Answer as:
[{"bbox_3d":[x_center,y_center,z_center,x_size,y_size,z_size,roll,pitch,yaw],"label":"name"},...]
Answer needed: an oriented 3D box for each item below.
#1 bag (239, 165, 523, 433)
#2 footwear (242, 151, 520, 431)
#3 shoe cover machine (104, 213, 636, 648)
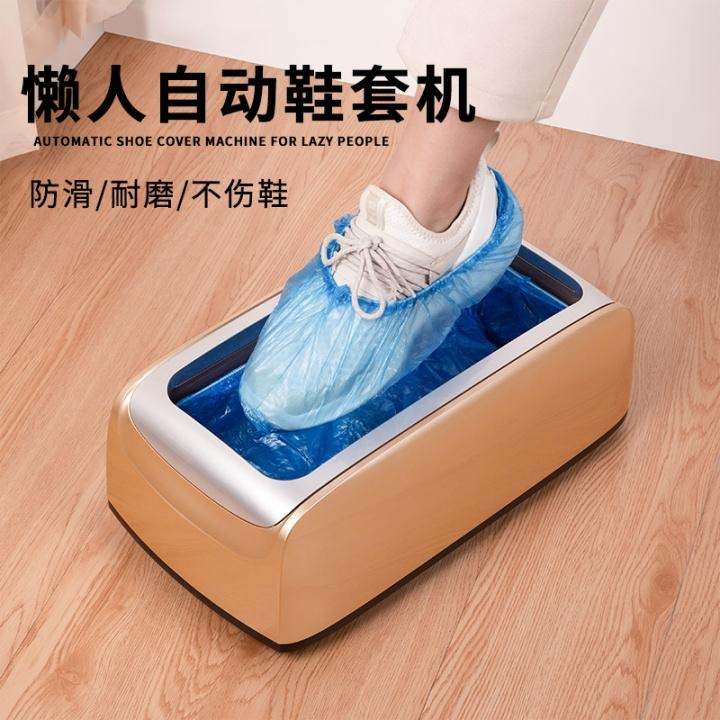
[{"bbox_3d":[0.002,-0.064,0.776,0.350,0.147,0.171,-43,64,-6],"label":"bag"},{"bbox_3d":[0.032,-0.090,0.783,0.349,0.146,0.170,-43,63,-6],"label":"footwear"},{"bbox_3d":[0.039,0.083,0.788,0.525,0.176,0.294,-28,47,-33],"label":"shoe cover machine"}]
